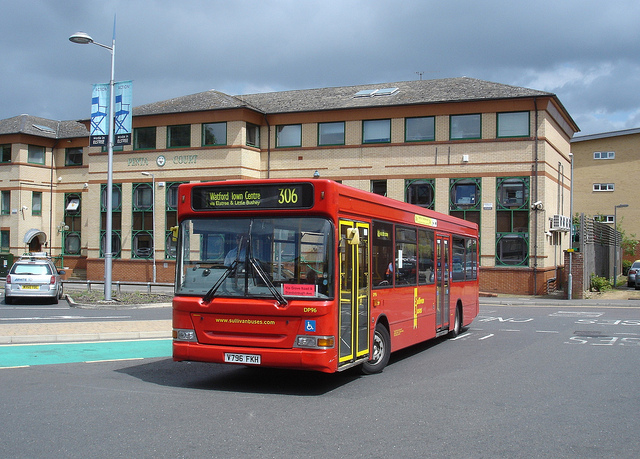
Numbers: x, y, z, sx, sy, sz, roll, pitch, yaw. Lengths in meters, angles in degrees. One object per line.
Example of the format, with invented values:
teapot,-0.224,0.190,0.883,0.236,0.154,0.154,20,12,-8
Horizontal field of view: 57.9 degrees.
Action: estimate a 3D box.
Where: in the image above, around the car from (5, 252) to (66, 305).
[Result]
car,-12.805,2.252,25.592,2.183,2.121,2.543,1,-5,-30
